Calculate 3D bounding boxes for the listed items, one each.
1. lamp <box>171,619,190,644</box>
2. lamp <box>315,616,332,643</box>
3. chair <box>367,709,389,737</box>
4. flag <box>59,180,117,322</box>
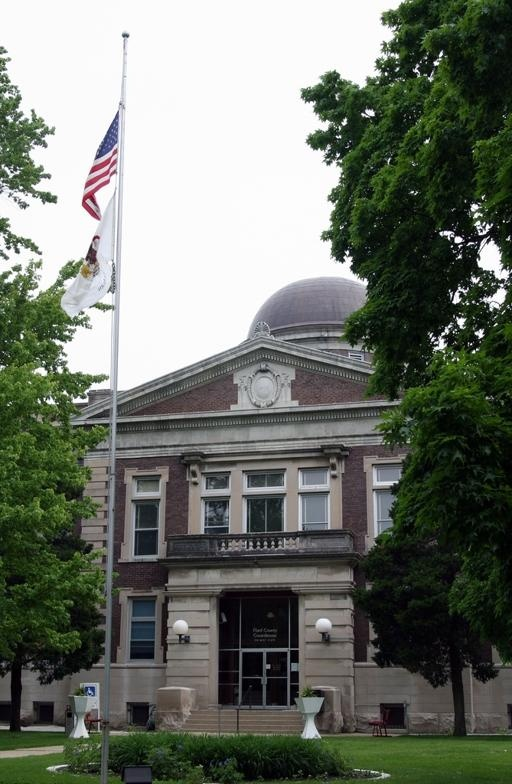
[{"bbox_3d":[-2.161,6.796,37.829,0.464,0.610,0.680,-1,-19,2],"label":"lamp"},{"bbox_3d":[1.836,6.467,36.356,0.490,0.634,0.703,-1,-19,3],"label":"lamp"},{"bbox_3d":[3.247,8.855,35.577,0.534,0.755,0.574,9,-26,-23],"label":"chair"},{"bbox_3d":[-2.955,-2.453,23.635,0.844,2.147,0.947,2,-19,-7],"label":"flag"}]
